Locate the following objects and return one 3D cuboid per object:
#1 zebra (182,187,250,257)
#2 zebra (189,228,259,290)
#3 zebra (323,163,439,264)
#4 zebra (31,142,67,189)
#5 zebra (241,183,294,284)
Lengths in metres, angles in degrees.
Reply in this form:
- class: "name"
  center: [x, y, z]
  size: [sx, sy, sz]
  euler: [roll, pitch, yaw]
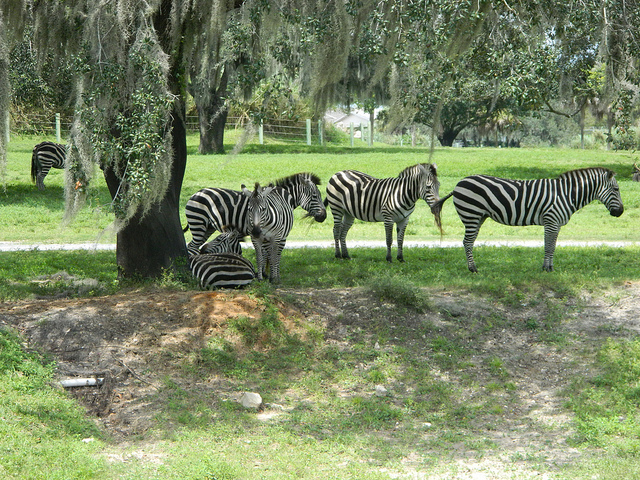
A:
- class: "zebra"
  center: [-2.140, -0.263, 18.967]
  size: [0.707, 1.519, 2.604]
  euler: [-6, -3, 41]
- class: "zebra"
  center: [-1.947, 0.336, 17.644]
  size: [1.434, 1.005, 2.089]
  euler: [-2, 8, -23]
- class: "zebra"
  center: [1.429, -0.702, 20.608]
  size: [2.920, 2.298, 1.805]
  euler: [4, 7, 20]
- class: "zebra"
  center: [-8.664, -2.369, 27.898]
  size: [0.955, 1.502, 1.359]
  euler: [-1, 7, -19]
- class: "zebra"
  center: [-1.056, -0.197, 18.185]
  size: [0.770, 2.149, 2.981]
  euler: [1, 7, 8]
